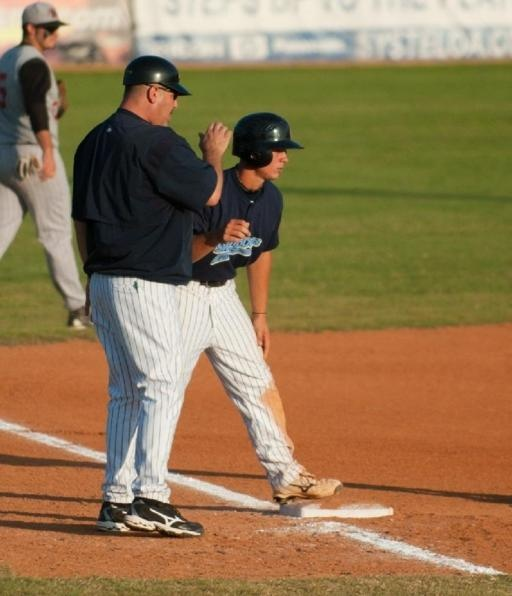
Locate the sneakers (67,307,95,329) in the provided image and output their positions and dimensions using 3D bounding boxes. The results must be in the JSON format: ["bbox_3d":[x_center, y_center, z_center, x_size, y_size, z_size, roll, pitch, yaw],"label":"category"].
[{"bbox_3d":[-1.056,0.118,7.812,0.177,0.164,0.082,-4,22,-30],"label":"sneakers"}]

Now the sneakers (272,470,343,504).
[{"bbox_3d":[0.212,0.816,5.631,0.293,0.144,0.130,-7,5,-10],"label":"sneakers"}]

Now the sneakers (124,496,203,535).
[{"bbox_3d":[-0.375,0.864,5.169,0.329,0.149,0.118,13,-9,-10],"label":"sneakers"}]

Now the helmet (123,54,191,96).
[{"bbox_3d":[-0.399,-0.866,5.113,0.234,0.116,0.167,4,11,-3],"label":"helmet"}]

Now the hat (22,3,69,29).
[{"bbox_3d":[-1.312,-1.714,7.998,0.216,0.118,0.148,4,29,3],"label":"hat"}]

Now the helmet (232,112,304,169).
[{"bbox_3d":[0.036,-0.660,5.477,0.278,0.218,0.276,0,11,-4],"label":"helmet"}]

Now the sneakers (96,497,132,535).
[{"bbox_3d":[-0.572,0.875,5.179,0.204,0.139,0.067,8,-2,-28],"label":"sneakers"}]

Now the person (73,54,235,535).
[{"bbox_3d":[-0.416,-0.003,5.146,0.620,1.866,0.487,0,12,-6],"label":"person"}]
